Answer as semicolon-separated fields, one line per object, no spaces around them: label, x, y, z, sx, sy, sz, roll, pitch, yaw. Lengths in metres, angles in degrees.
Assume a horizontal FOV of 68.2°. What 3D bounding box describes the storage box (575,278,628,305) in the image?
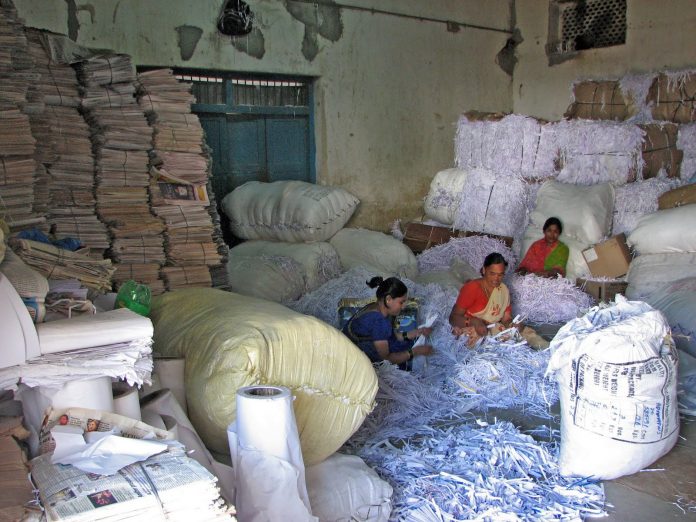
storage box;2.344;0.257;4.689;0.364;0.185;0.503;-2;11;3

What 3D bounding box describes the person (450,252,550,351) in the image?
person;1.095;0.291;3.778;0.676;0.713;0.352;-4;14;-7

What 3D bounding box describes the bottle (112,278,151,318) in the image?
bottle;-0.963;0.176;2.275;0.153;0.144;0.343;-8;12;-23

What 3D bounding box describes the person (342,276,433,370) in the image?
person;0.264;0.400;3.298;0.379;0.664;0.484;10;18;44

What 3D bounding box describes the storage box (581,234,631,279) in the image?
storage box;2.470;-0.007;4.987;0.457;0.403;0.403;-18;-1;-2
